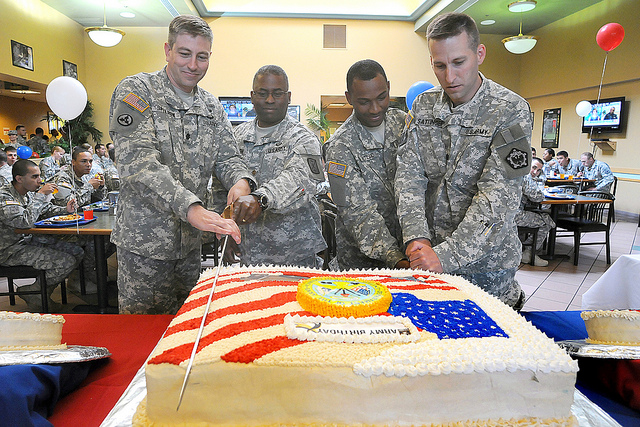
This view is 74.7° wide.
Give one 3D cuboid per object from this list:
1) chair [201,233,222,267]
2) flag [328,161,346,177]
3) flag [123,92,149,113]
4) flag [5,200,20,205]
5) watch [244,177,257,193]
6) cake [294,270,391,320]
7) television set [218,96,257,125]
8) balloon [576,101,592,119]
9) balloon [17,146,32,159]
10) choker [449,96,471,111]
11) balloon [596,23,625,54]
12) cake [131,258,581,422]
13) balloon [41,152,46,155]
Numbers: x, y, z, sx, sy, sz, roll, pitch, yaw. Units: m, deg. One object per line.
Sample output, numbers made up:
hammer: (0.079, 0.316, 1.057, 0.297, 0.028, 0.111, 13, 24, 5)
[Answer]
chair: (-1.341, 0.411, 5.033, 0.259, 0.347, 0.255, -10, -13, 40)
flag: (0.106, -0.257, 2.445, 0.094, 0.064, 0.013, 6, -4, 28)
flag: (-0.917, -0.551, 2.093, 0.103, 0.074, 0.024, 38, -25, -12)
flag: (-2.658, -0.098, 3.621, 0.092, 0.039, 0.090, -5, 8, -35)
watch: (-0.378, -0.151, 2.257, 0.024, 0.073, 0.075, -22, -14, 21)
cake: (0.101, 0.339, 1.721, 0.407, 0.110, 0.430, 3, 3, 14)
television set: (-1.953, -2.462, 9.989, 0.727, 0.670, 0.387, -3, 7, -17)
balloon: (5.238, -2.089, 8.293, 0.207, 0.285, 0.316, 4, 8, 34)
balloon: (-5.375, -1.117, 7.593, 0.186, 0.222, 0.633, -5, 8, -33)
choker: (0.695, -0.550, 2.106, 0.115, 0.073, 0.052, 6, 9, 43)
balloon: (4.316, -2.630, 6.208, 0.290, 0.405, 0.436, 4, 8, 35)
cake: (0.099, 0.485, 1.584, 1.493, 0.338, 0.736, -2, 7, -11)
balloon: (-5.944, -1.284, 8.979, 0.036, 0.041, 0.053, 0, 7, 2)
